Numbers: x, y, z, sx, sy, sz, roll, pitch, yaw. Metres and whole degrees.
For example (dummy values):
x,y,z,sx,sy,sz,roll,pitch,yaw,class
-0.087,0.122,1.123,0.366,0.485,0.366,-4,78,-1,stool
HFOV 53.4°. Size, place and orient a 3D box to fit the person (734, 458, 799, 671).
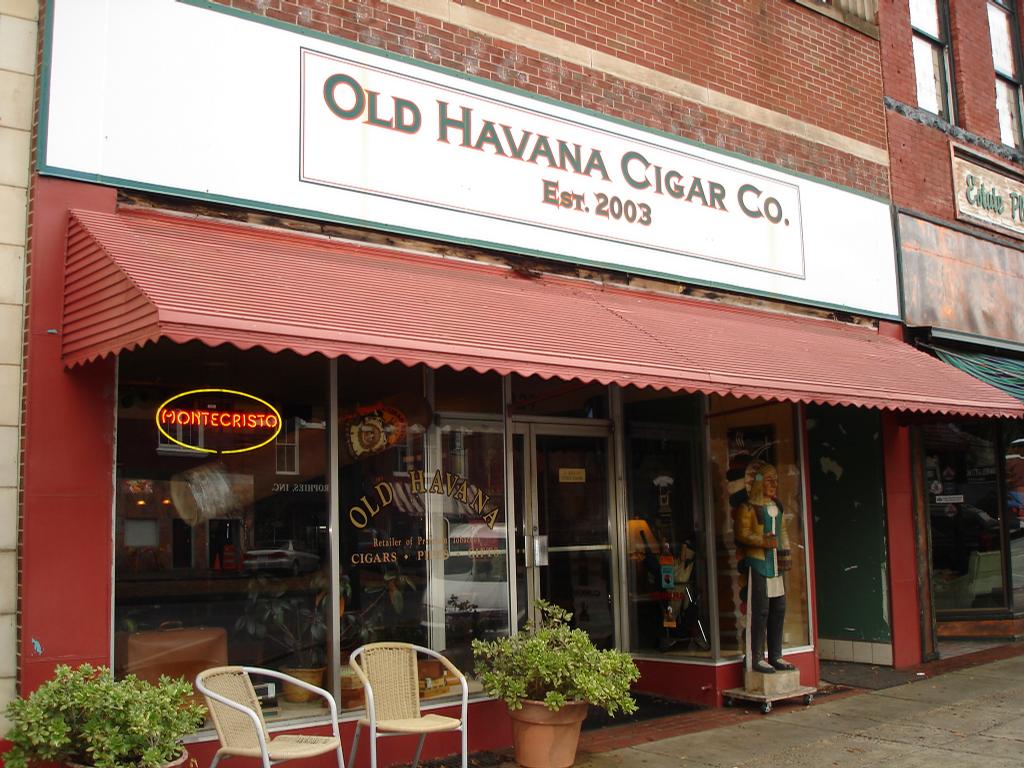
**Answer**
x,y,z,sx,sy,sz,roll,pitch,yaw,class
2.556,1.888,10.335,0.509,2.008,0.499,-7,-13,6,person
